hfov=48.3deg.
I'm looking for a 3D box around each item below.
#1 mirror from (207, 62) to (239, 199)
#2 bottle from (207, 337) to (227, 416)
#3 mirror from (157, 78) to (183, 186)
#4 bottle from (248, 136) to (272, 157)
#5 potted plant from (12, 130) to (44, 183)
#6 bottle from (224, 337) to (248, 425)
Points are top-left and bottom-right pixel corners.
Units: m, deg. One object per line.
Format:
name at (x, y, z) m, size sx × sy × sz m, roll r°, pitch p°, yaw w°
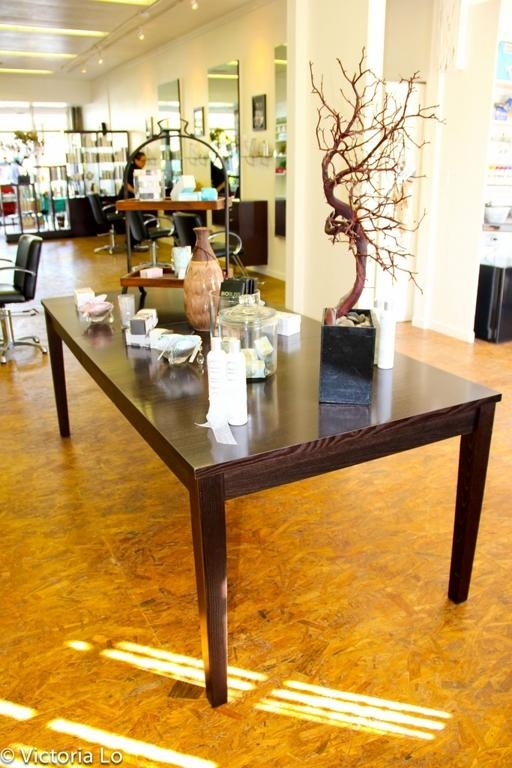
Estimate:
mirror at (-0.463, -3.609, 8.143) m, size 0.262 × 1.779 × 0.873 m, roll -6°, pitch 17°, yaw -16°
bottle at (-0.091, 0.002, 1.298) m, size 0.045 × 0.153 × 0.077 m, roll -2°, pitch 16°, yaw -4°
mirror at (-1.503, -4.314, 9.909) m, size 0.249 × 1.786 × 1.277 m, roll -5°, pitch 17°, yaw -15°
bottle at (0.043, -3.065, 7.408) m, size 0.178 × 0.321 × 0.513 m, roll -5°, pitch 34°, yaw -15°
potted plant at (-4.897, -4.896, 12.263) m, size 0.615 × 1.083 × 1.112 m, roll -7°, pitch 17°, yaw -20°
bottle at (-0.043, 0.009, 1.330) m, size 0.045 × 0.170 × 0.104 m, roll 8°, pitch 18°, yaw 26°
